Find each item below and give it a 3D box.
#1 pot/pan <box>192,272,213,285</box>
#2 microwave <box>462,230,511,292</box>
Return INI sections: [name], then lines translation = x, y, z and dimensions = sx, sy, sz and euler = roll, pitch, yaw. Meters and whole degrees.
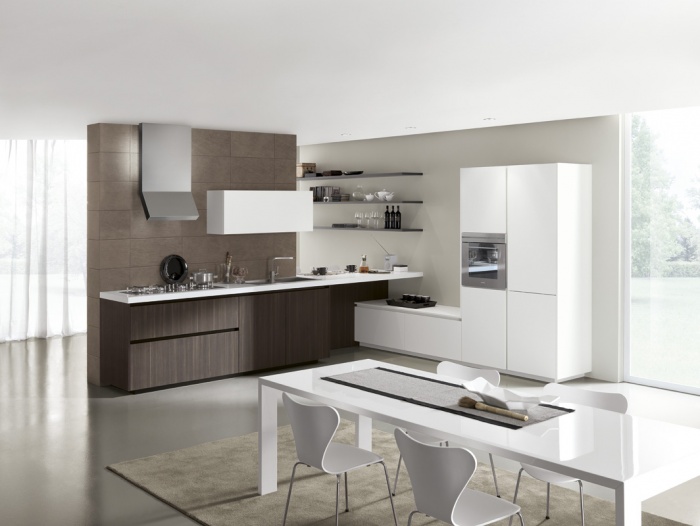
[pot/pan]
translation = -1.860, 0.197, 7.067
dimensions = 0.234, 0.153, 0.260
euler = -3, 7, -19
[microwave]
translation = 1.772, -0.023, 7.324
dimensions = 0.282, 0.727, 0.532
euler = -3, 8, -43
